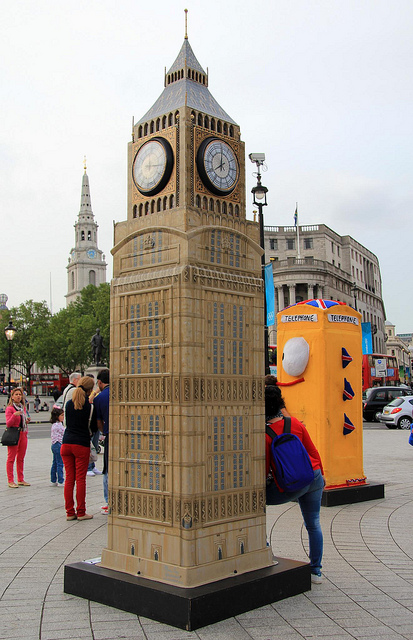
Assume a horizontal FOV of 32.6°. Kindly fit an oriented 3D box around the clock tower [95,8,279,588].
[{"bbox_3d":[-0.156,-0.153,5.545,1.342,4.236,1.292,-3,-6,27],"label":"clock tower"}]

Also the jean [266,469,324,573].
[{"bbox_3d":[0.604,1.525,5.572,0.424,0.831,0.521,-2,-2,34],"label":"jean"}]

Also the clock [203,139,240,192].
[{"bbox_3d":[0.099,-1.157,5.320,0.026,0.416,0.406,-9,-14,36],"label":"clock"}]

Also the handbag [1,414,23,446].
[{"bbox_3d":[-3.018,1.733,11.000,0.332,0.454,0.344,-7,-1,-15],"label":"handbag"}]

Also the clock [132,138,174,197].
[{"bbox_3d":[-0.421,-1.150,5.322,0.423,0.442,0.047,5,-1,44],"label":"clock"}]

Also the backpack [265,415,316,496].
[{"bbox_3d":[0.658,0.999,5.412,0.345,0.540,0.330,-24,-5,-21],"label":"backpack"}]

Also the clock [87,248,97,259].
[{"bbox_3d":[-22.297,-12.738,136.282,1.961,2.069,0.280,3,-3,-40],"label":"clock"}]
